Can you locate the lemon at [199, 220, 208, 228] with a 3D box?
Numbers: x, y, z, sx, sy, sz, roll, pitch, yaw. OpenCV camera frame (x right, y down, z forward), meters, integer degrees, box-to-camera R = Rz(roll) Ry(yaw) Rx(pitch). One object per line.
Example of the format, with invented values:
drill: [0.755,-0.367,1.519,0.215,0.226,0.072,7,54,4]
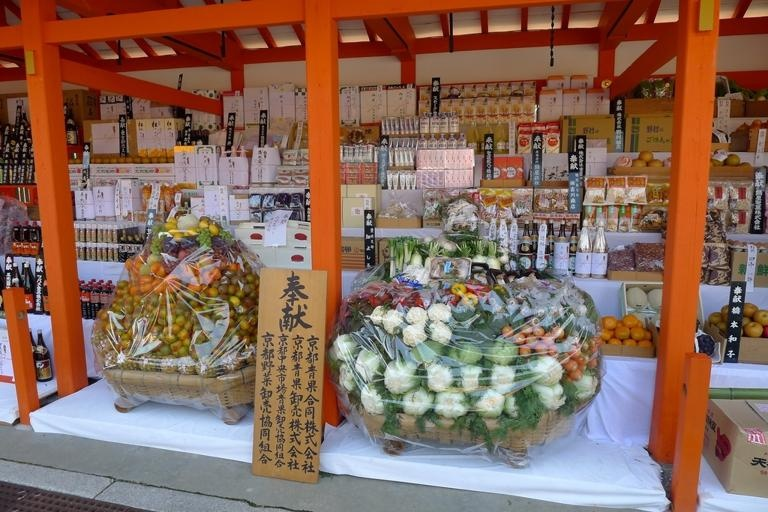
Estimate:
lemon: [-1.462,-0.261,4.748,0.058,0.067,0.058,-5,-11,35]

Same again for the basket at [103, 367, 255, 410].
basket: [-1.541,1.015,4.522,1.236,0.220,0.486,3,10,7]

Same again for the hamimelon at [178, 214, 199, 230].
hamimelon: [-1.593,-0.266,4.817,0.143,0.143,0.143,-12,-16,16]

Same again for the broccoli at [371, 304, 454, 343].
broccoli: [0.210,0.465,4.047,0.436,0.248,0.119,1,-18,14]

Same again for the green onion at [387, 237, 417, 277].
green onion: [0.143,-0.004,4.949,0.291,0.416,0.257,3,-5,-5]

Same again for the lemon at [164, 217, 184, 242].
lemon: [-1.701,-0.222,4.746,0.183,0.105,0.142,33,10,40]

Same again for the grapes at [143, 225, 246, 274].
grapes: [-1.522,-0.090,4.630,0.497,0.211,0.497,0,6,-4]

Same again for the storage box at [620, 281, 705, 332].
storage box: [2.285,0.373,5.054,0.443,0.479,0.157,-3,-22,11]
